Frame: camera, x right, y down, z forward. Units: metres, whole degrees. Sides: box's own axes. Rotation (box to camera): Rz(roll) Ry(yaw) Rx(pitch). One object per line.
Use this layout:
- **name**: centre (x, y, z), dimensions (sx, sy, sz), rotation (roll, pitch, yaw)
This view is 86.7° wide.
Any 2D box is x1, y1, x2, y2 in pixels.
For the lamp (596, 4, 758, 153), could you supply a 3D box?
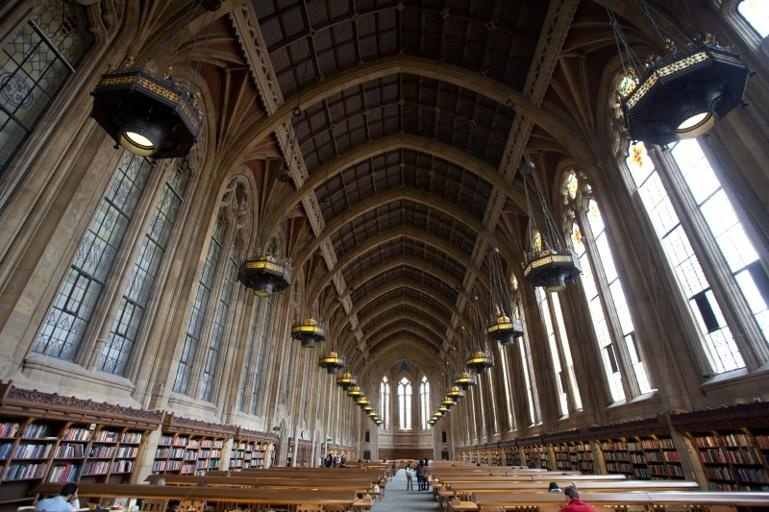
- **lamp**: centre (6.251, -3.500, 8.632), dimensions (2.172, 1.073, 1.562), rotation (-8, -34, 11)
